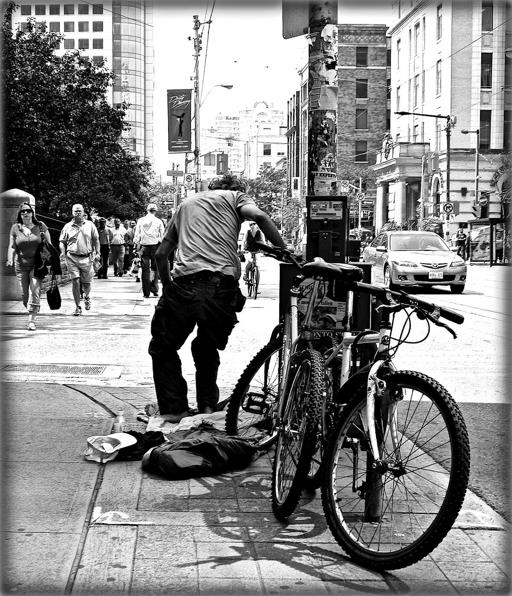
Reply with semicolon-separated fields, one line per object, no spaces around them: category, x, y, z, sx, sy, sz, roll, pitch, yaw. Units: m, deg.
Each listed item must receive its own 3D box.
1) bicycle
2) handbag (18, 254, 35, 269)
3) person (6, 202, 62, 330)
bicycle;0.414;0.529;4.003;0.771;1.006;1.703;26;-1;-25
handbag;-3.196;-0.499;12.278;0.195;0.154;0.200;10;11;30
person;-3.102;-0.430;12.282;0.705;1.732;1.476;1;7;-15
